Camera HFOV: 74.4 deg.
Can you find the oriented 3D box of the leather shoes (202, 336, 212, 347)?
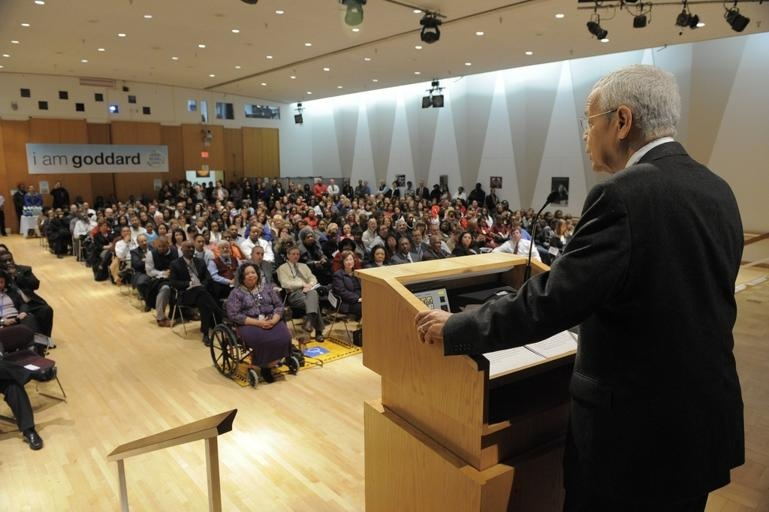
[{"bbox_3d":[-2.522,1.227,7.288,0.107,0.105,0.270,-3,6,-38],"label":"leather shoes"}]

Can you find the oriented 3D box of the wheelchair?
[{"bbox_3d":[-1.570,1.053,6.611,0.952,1.118,0.779,5,11,38],"label":"wheelchair"}]

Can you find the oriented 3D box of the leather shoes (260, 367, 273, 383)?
[{"bbox_3d":[-1.424,1.429,6.267,0.159,0.196,0.268,-7,11,-18],"label":"leather shoes"}]

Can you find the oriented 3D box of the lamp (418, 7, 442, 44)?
[{"bbox_3d":[0.968,-4.719,10.372,0.420,0.657,0.710,-3,10,7],"label":"lamp"}]

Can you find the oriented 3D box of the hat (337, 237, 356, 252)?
[{"bbox_3d":[-0.583,-0.179,8.138,0.199,0.244,0.254,3,15,8],"label":"hat"}]

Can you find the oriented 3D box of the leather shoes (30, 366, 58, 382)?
[{"bbox_3d":[-3.508,1.234,5.247,0.187,0.075,0.144,8,6,41],"label":"leather shoes"}]

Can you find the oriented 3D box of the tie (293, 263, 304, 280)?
[{"bbox_3d":[-1.265,0.224,7.583,0.111,0.179,0.170,-6,10,-12],"label":"tie"}]

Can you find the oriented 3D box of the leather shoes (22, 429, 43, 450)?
[{"bbox_3d":[-3.418,1.794,4.998,0.319,0.124,0.109,8,8,41],"label":"leather shoes"}]

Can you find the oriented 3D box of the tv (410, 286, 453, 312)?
[{"bbox_3d":[0.275,0.238,2.928,0.177,0.165,0.138,-8,-2,-30],"label":"tv"}]

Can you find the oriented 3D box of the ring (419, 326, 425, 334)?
[{"bbox_3d":[0.176,0.352,2.395,0.034,0.030,0.025,7,-3,25],"label":"ring"}]

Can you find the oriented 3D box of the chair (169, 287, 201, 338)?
[{"bbox_3d":[-3.164,0.793,8.037,0.441,0.690,1.148,-8,11,-22],"label":"chair"}]
